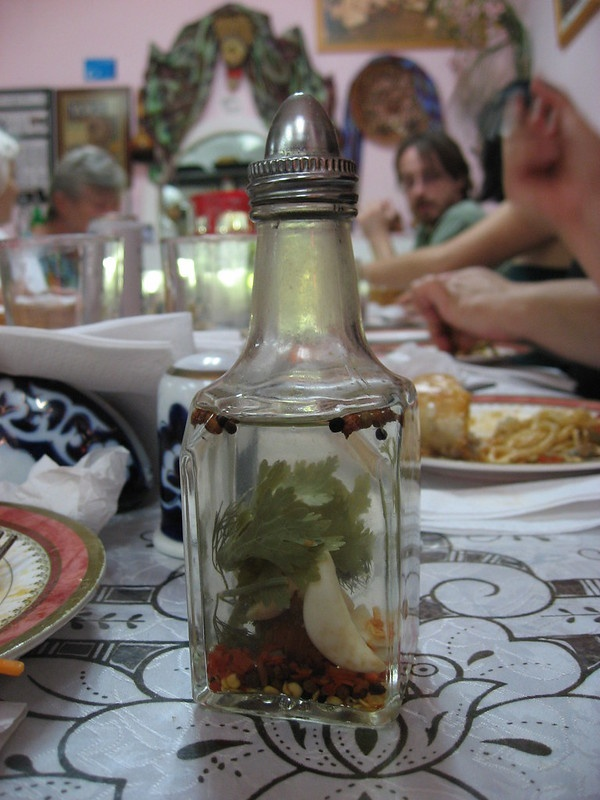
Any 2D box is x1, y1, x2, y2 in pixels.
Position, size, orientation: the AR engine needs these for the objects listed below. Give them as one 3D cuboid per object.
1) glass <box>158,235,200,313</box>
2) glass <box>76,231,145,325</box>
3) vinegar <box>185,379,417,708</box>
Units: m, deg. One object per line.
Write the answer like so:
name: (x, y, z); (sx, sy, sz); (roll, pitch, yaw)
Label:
glass: (-0.138, -0.132, 0.830); (0.060, 0.081, 0.056); (-6, 14, -29)
glass: (-0.147, -0.102, 0.626); (0.062, 0.080, 0.061); (11, 14, 35)
vinegar: (0.020, 0.052, 0.341); (0.107, 0.152, 0.103); (-1, -2, 35)
